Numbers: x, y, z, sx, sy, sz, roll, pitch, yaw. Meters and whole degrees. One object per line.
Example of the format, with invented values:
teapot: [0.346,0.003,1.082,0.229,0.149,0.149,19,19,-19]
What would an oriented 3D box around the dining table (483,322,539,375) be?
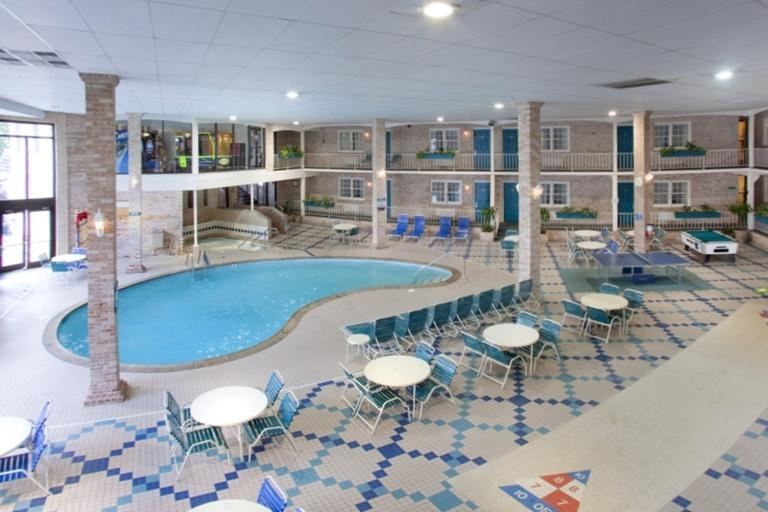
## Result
dining table: [3.425,2.595,12.231,1.472,0.693,1.295,-9,15,-19]

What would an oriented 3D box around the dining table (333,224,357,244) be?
dining table: [-2.515,-1.351,27.984,1.431,0.710,1.404,6,12,38]

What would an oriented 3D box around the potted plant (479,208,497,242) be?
potted plant: [6.385,-1.831,27.314,1.092,1.982,2.345,3,7,23]

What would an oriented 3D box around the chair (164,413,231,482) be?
chair: [-3.837,3.625,9.127,1.092,1.081,0.953,-8,12,-26]

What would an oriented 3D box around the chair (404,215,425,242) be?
chair: [1.950,-1.709,27.868,0.938,1.446,1.265,2,12,23]

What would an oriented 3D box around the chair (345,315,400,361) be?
chair: [-0.338,2.276,13.476,1.195,1.056,1.649,-7,17,-26]

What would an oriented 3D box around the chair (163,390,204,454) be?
chair: [-4.262,3.526,9.436,1.031,1.283,0.691,-2,40,-8]

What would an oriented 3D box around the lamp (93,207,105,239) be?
lamp: [-7.091,-0.790,11.074,0.263,0.695,0.199,-11,14,-32]

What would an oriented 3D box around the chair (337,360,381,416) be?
chair: [-0.598,3.226,10.817,0.717,0.773,0.913,-15,33,-29]

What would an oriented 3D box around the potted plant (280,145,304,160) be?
potted plant: [-6.440,-6.886,30.212,1.471,0.563,1.298,-3,7,-20]

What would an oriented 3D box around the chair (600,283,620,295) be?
chair: [8.204,1.207,16.234,0.378,0.523,0.432,5,11,40]

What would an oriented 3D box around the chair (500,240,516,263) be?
chair: [6.402,-0.297,22.916,0.669,0.932,1.802,0,10,16]

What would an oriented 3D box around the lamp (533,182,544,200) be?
lamp: [5.545,-2.312,16.101,0.158,0.562,0.547,7,14,39]

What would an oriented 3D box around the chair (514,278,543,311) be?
chair: [5.194,1.417,16.128,1.049,1.115,0.946,-6,22,-5]

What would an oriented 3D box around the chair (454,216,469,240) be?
chair: [4.824,-1.657,27.464,0.882,1.303,1.750,-1,10,10]

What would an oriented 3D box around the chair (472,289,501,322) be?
chair: [3.497,1.703,15.136,1.076,0.820,0.784,-7,26,-25]

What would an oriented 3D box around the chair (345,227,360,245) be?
chair: [-1.996,-1.292,27.933,1.327,1.291,1.055,1,5,8]

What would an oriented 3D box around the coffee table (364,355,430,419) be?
coffee table: [0.274,3.179,10.796,1.392,0.704,1.397,10,18,40]

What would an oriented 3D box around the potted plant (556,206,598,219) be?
potted plant: [11.886,-2.534,27.292,1.696,0.412,1.074,4,9,27]

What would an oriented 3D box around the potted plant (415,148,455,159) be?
potted plant: [3.400,-6.570,29.482,2.587,0.649,0.576,0,11,13]

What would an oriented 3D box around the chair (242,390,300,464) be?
chair: [-2.401,3.415,9.392,1.053,1.109,0.697,-6,12,-17]

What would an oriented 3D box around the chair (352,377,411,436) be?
chair: [-0.103,3.263,10.541,1.359,0.884,1.315,-9,12,-34]

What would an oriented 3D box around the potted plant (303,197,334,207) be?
potted plant: [-4.659,-3.738,31.691,1.088,0.463,1.550,-3,7,-41]

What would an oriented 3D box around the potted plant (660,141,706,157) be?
potted plant: [17.070,-5.853,25.339,1.654,0.395,1.214,4,8,36]

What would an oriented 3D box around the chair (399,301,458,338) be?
chair: [1.444,2.042,14.170,1.328,0.573,0.503,-8,18,-29]
